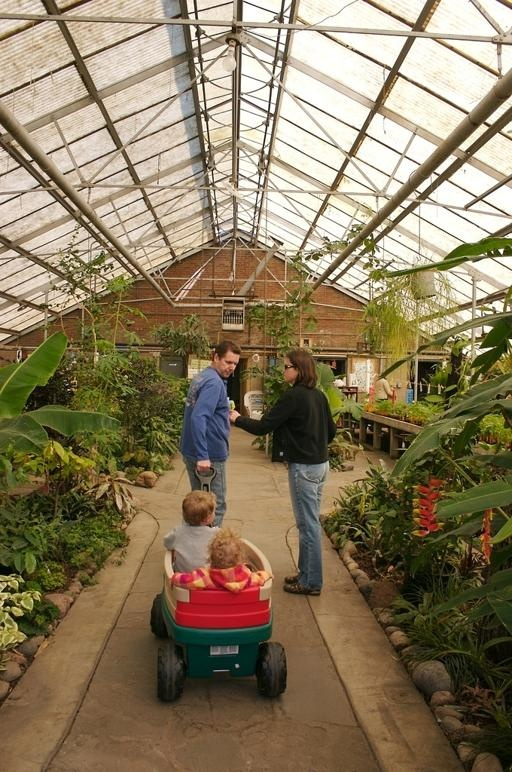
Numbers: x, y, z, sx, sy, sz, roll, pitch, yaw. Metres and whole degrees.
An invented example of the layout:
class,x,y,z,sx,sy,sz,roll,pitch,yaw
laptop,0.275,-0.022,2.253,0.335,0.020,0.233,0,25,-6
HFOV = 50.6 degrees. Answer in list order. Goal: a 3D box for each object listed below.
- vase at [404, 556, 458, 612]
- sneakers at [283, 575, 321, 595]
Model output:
class,x,y,z,sx,sy,sz,roll,pitch,yaw
vase,0.915,1.042,2.891,0.262,0.254,0.530,2,3,19
sneakers,0.269,1.193,3.212,0.171,0.073,0.095,13,-6,-4
